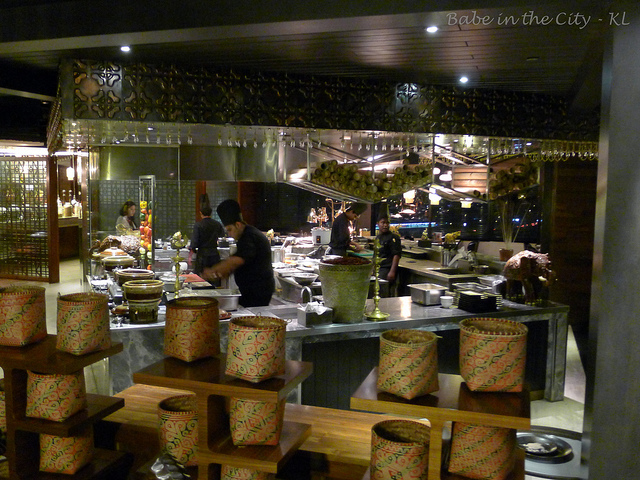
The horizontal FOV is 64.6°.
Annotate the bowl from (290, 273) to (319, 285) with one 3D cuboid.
[{"bbox_3d":[-0.173,0.465,5.976,0.242,0.120,0.371,1,3,-5],"label":"bowl"}]

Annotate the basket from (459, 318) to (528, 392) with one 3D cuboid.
[{"bbox_3d":[0.685,0.463,2.025,0.248,0.260,0.231,3,4,20],"label":"basket"}]

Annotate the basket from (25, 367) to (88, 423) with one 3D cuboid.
[{"bbox_3d":[-1.142,0.666,2.223,0.246,0.192,0.223,-1,1,-9],"label":"basket"}]

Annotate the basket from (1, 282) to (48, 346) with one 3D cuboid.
[{"bbox_3d":[-1.277,0.335,2.310,0.261,0.238,0.240,0,4,-8],"label":"basket"}]

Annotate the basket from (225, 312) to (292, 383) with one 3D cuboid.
[{"bbox_3d":[-0.248,0.445,2.075,0.271,0.206,0.290,4,-5,-15],"label":"basket"}]

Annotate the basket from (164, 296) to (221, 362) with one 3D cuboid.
[{"bbox_3d":[-0.545,0.373,2.264,0.263,0.254,0.257,-1,3,-35],"label":"basket"}]

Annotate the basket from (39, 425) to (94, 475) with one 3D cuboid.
[{"bbox_3d":[-1.098,0.912,2.210,0.211,0.194,0.108,0,4,-24],"label":"basket"}]

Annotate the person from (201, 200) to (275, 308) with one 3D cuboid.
[{"bbox_3d":[-0.739,0.164,4.842,0.379,1.053,0.806,5,5,41],"label":"person"}]

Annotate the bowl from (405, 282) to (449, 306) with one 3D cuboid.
[{"bbox_3d":[1.103,0.570,5.303,0.329,0.190,0.397,0,4,-13],"label":"bowl"}]

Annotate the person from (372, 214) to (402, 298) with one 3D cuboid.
[{"bbox_3d":[1.048,0.297,7.721,0.351,1.316,1.119,2,4,7],"label":"person"}]

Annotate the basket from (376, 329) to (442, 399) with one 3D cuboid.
[{"bbox_3d":[0.345,0.494,2.048,0.237,0.215,0.246,1,1,30],"label":"basket"}]

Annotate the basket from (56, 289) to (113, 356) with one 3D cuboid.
[{"bbox_3d":[-1.039,0.346,2.257,0.266,0.277,0.247,-3,5,-28],"label":"basket"}]

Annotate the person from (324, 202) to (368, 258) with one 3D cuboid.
[{"bbox_3d":[0.365,-0.128,7.327,0.248,0.758,0.854,0,4,-18],"label":"person"}]

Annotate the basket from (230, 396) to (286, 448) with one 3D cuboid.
[{"bbox_3d":[-0.244,0.739,2.102,0.239,0.158,0.221,-3,-13,19],"label":"basket"}]

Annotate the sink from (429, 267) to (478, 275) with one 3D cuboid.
[{"bbox_3d":[2.024,0.485,7.726,0.580,0.083,0.338,0,4,-23],"label":"sink"}]

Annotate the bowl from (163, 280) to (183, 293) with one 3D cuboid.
[{"bbox_3d":[-1.429,0.449,4.951,0.159,0.075,0.153,-1,0,0],"label":"bowl"}]

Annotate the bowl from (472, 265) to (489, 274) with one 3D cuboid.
[{"bbox_3d":[2.316,0.441,7.373,0.248,0.121,0.169,4,5,40],"label":"bowl"}]

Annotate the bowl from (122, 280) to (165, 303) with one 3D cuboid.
[{"bbox_3d":[-1.176,0.345,3.404,0.181,0.098,0.179,-3,-2,0],"label":"bowl"}]

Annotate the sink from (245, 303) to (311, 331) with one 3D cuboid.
[{"bbox_3d":[-0.376,0.692,4.791,0.510,0.155,0.416,-1,5,-12],"label":"sink"}]
